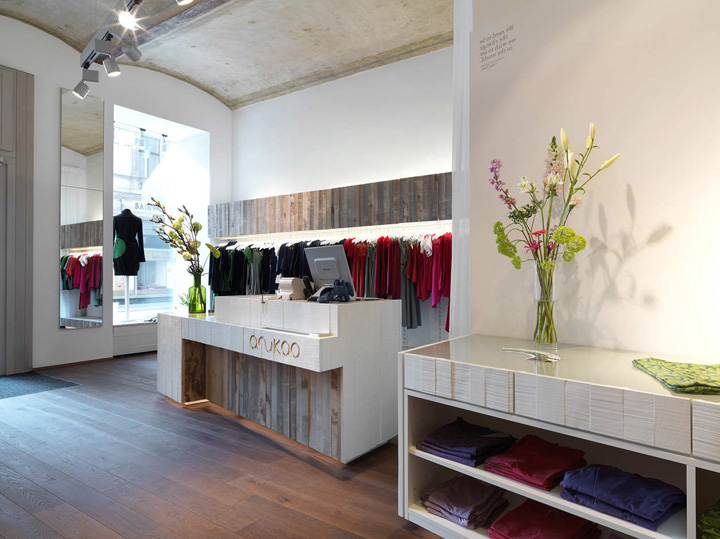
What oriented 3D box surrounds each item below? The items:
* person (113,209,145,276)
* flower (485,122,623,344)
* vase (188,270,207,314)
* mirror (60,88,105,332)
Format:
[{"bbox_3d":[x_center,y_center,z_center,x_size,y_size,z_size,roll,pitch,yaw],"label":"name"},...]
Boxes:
[{"bbox_3d":[-3.303,-0.367,7.275,0.441,0.950,0.222,-6,10,-37],"label":"person"},{"bbox_3d":[1.168,-0.232,3.187,0.746,1.313,0.498,4,9,29],"label":"flower"},{"bbox_3d":[-1.658,0.216,5.146,0.179,0.431,0.366,-3,8,-19],"label":"vase"},{"bbox_3d":[-3.584,-0.758,6.547,0.644,2.981,0.424,-5,9,-31],"label":"mirror"}]
